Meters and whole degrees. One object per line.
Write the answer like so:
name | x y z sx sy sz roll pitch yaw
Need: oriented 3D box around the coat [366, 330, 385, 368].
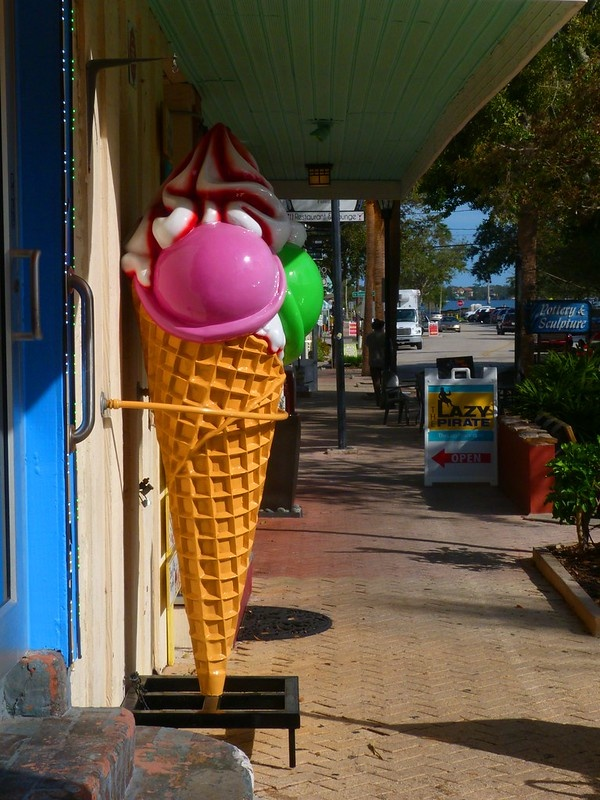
coat | 1.870 -1.266 19.832 0.404 0.906 0.896 0 4 5

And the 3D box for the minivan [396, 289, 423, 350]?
minivan | 7.493 -5.634 54.318 1.582 4.273 6.873 0 4 8
